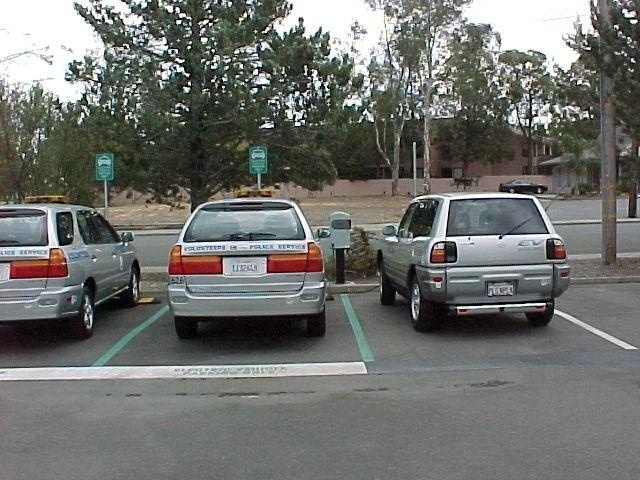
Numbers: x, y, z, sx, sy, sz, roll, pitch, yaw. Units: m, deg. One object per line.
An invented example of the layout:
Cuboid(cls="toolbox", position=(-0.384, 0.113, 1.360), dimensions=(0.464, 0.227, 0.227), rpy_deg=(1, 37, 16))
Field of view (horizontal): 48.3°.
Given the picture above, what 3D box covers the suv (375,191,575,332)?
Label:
Cuboid(cls="suv", position=(2.368, 0.255, 12.316), dimensions=(2.303, 2.141, 4.261), rpy_deg=(-1, 4, -8))
